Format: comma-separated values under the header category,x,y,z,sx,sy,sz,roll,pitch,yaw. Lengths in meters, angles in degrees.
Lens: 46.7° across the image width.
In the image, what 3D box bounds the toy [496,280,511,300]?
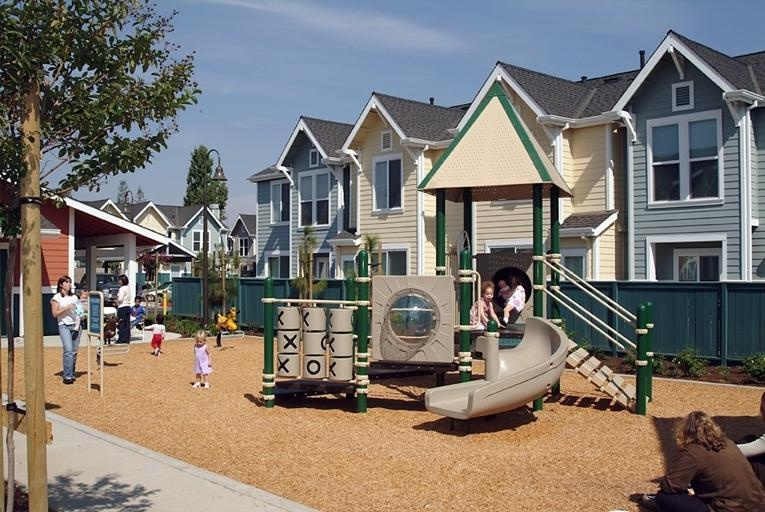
category,x,y,z,sx,sy,sz,roll,pitch,yaw
toy,2.698,0.803,19.856,0.365,0.430,0.308,13,-14,-26

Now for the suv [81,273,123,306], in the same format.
category,x,y,z,sx,sy,sz,roll,pitch,yaw
suv,-10.661,1.338,33.961,1.254,1.266,3.010,1,-4,-33

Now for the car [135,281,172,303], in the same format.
category,x,y,z,sx,sy,sz,roll,pitch,yaw
car,-13.321,2.209,51.937,2.547,0.958,1.421,4,-6,-26

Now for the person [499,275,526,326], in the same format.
category,x,y,z,sx,sy,sz,roll,pitch,yaw
person,2.836,0.923,19.403,0.509,1.175,0.391,8,19,-12

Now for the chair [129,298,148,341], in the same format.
category,x,y,z,sx,sy,sz,roll,pitch,yaw
chair,-7.823,1.959,28.107,0.567,1.181,0.625,5,2,4

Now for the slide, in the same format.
category,x,y,z,sx,sy,sz,roll,pitch,yaw
slide,2.251,2.076,16.108,2.647,1.595,1.502,-3,0,-42

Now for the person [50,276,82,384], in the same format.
category,x,y,z,sx,sy,sz,roll,pitch,yaw
person,-6.707,1.614,19.093,0.640,2.268,0.704,-4,-4,7

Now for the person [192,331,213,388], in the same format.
category,x,y,z,sx,sy,sz,roll,pitch,yaw
person,-3.981,2.302,19.638,0.388,1.229,1.462,1,-4,-12

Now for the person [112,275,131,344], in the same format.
category,x,y,z,sx,sy,sz,roll,pitch,yaw
person,-7.616,1.619,25.933,0.618,2.074,0.626,-1,-3,14

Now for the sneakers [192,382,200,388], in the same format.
category,x,y,z,sx,sy,sz,roll,pitch,yaw
sneakers,-4.067,2.848,19.327,0.202,0.095,0.090,-2,-11,38

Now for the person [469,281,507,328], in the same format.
category,x,y,z,sx,sy,sz,roll,pitch,yaw
person,2.161,1.066,18.467,0.757,0.987,0.607,0,6,40
